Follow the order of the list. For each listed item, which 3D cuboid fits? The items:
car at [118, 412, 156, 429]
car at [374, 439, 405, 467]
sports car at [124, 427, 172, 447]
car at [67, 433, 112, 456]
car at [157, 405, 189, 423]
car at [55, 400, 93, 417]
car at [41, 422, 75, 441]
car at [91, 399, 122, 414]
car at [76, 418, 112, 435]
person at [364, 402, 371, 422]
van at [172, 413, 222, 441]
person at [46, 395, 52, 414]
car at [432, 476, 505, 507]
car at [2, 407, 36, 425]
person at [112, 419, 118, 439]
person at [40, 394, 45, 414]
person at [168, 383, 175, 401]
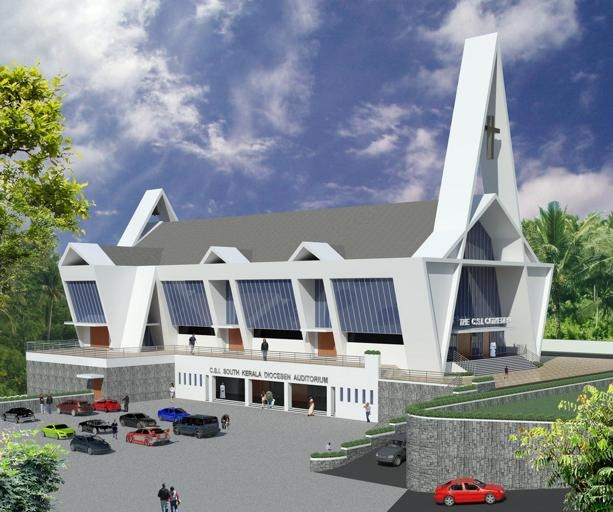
[{"bbox_3d":[-11.971,11.728,45.796,2.613,0.947,1.222,-5,-7,38],"label":"car"},{"bbox_3d":[4.972,11.192,36.432,1.866,1.361,1.267,2,-12,-32],"label":"car"},{"bbox_3d":[-10.472,11.755,42.101,2.319,0.845,1.320,2,-1,34],"label":"sports car"},{"bbox_3d":[-13.661,11.782,40.197,1.194,0.866,2.610,4,-5,-45],"label":"car"},{"bbox_3d":[-10.012,11.753,47.724,2.556,0.911,1.237,-4,-3,40],"label":"car"},{"bbox_3d":[-18.300,11.919,50.511,3.198,1.334,1.420,-8,-11,19],"label":"car"},{"bbox_3d":[-16.871,11.770,43.230,2.298,0.738,1.062,-5,-5,40],"label":"car"},{"bbox_3d":[-16.113,11.978,51.637,2.157,0.810,1.004,6,3,37],"label":"car"},{"bbox_3d":[-14.562,11.791,44.251,3.093,1.052,0.926,-10,-12,28],"label":"car"},{"bbox_3d":[4.384,11.031,45.438,0.459,1.478,0.870,-5,-10,9],"label":"person"},{"bbox_3d":[-7.476,11.662,44.406,2.569,1.291,1.587,2,-2,34],"label":"van"},{"bbox_3d":[-20.681,11.846,51.271,0.415,1.461,1.234,1,-11,-22],"label":"person"},{"bbox_3d":[7.759,11.167,30.621,2.841,1.036,1.390,-4,2,3],"label":"car"},{"bbox_3d":[-21.918,11.877,48.375,2.524,0.931,1.112,2,-2,36],"label":"car"},{"bbox_3d":[-13.100,11.772,43.645,0.432,1.248,1.588,-1,-11,-17],"label":"person"},{"bbox_3d":[-21.276,11.928,51.539,0.413,1.340,0.940,1,-11,-23],"label":"person"},{"bbox_3d":[-11.741,11.798,56.127,0.580,1.419,2.042,-1,-11,-12],"label":"person"}]
